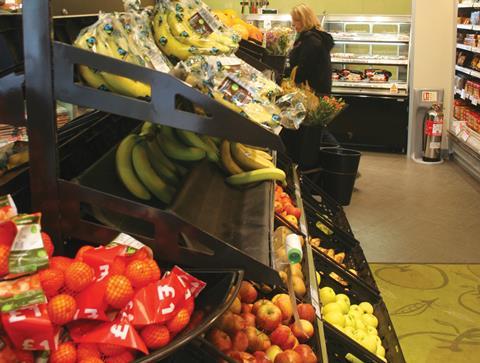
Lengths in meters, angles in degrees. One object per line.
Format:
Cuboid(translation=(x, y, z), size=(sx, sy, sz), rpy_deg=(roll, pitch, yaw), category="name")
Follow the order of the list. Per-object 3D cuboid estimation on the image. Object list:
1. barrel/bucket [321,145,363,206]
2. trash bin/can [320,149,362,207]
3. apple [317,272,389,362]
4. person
Cuboid(translation=(1.115, -0.110, 3.878), size=(0.402, 0.669, 0.487), rpy_deg=(6, 23, 16), category="barrel/bucket")
Cuboid(translation=(1.111, -0.094, 3.894), size=(0.411, 0.665, 0.500), rpy_deg=(6, 23, 17), category="trash bin/can")
Cuboid(translation=(0.525, 0.659, 1.585), size=(0.124, 0.350, 0.373), rpy_deg=(-37, 36, 9), category="apple")
Cuboid(translation=(0.983, -1.277, 4.375), size=(0.604, 1.801, 0.790), rpy_deg=(-1, 21, 2), category="person")
